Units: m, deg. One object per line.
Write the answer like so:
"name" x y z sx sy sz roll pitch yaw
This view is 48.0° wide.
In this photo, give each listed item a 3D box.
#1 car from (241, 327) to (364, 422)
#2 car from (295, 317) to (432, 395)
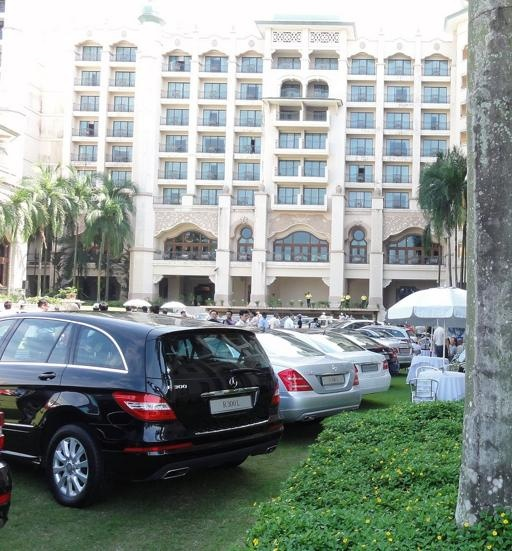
"car" 0.705 1.421 7.453 0.891 0.623 2.047 -2 4 -36
"car" 1.360 1.549 11.073 1.285 0.869 2.920 -1 3 -39
